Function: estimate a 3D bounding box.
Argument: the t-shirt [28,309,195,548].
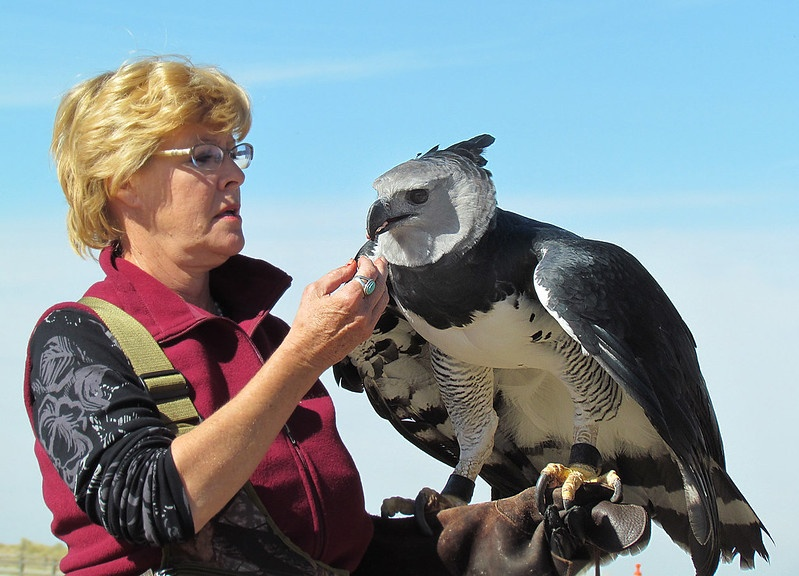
[{"bbox_3d":[-1.101,0.548,7.041,0.374,0.823,0.634,-26,-20,-9],"label":"t-shirt"}]

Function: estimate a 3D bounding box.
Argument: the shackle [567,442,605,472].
[{"bbox_3d":[0.823,0.746,8.159,0.131,0.100,0.108,2,-7,-32],"label":"shackle"}]

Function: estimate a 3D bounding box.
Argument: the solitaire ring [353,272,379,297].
[{"bbox_3d":[-0.127,-0.016,7.208,0.070,0.082,0.051,-31,-12,2],"label":"solitaire ring"}]

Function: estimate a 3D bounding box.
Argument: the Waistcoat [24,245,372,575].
[{"bbox_3d":[-0.774,0.526,7.122,0.673,1.189,0.953,-21,-22,26],"label":"Waistcoat"}]

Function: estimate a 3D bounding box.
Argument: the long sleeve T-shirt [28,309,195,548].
[{"bbox_3d":[-1.107,0.553,7.021,0.374,0.823,0.634,-26,-20,-9],"label":"long sleeve T-shirt"}]

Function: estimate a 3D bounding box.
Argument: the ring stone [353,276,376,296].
[{"bbox_3d":[-0.130,-0.019,7.217,0.066,0.078,0.048,-34,-3,17],"label":"ring stone"}]

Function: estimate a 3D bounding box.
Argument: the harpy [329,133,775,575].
[{"bbox_3d":[0.695,0.401,8.757,2.184,1.875,1.567,12,-17,-34],"label":"harpy"}]
